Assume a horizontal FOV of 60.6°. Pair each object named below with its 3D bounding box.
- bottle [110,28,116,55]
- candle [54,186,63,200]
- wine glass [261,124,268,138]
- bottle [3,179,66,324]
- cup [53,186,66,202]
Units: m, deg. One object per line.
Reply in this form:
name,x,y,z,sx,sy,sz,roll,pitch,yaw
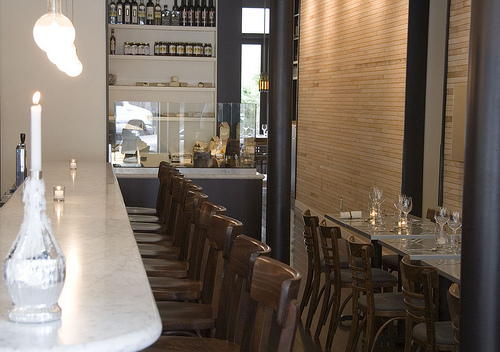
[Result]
bottle,-2.479,-2.415,7.663,0.119,0.446,0.231,-3,7,-14
candle,-1.313,0.112,2.934,0.079,0.099,0.082,0,2,-14
wine glass,0.433,-1.487,13.586,0.138,0.377,0.414,-2,7,-8
bottle,-0.627,0.205,1.236,0.160,0.418,0.138,-5,8,-26
cup,-1.310,0.117,2.983,0.096,0.121,0.101,0,1,0
